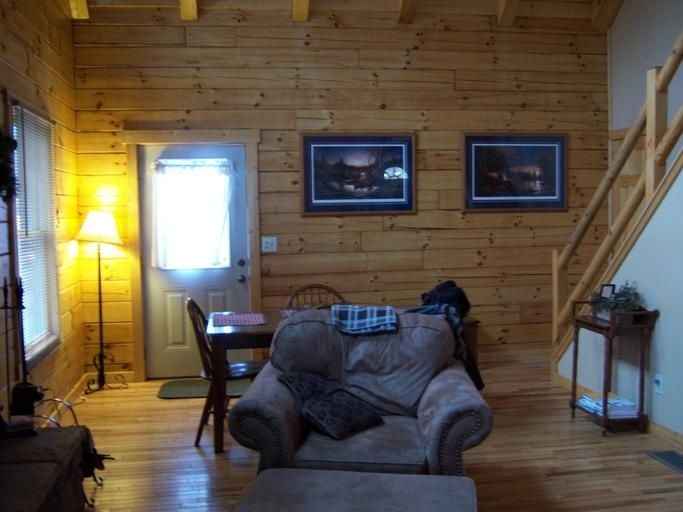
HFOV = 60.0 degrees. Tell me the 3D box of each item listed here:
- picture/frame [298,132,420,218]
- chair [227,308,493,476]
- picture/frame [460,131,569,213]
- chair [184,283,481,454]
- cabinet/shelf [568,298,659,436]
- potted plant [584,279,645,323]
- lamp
[{"bbox_3d":[0.101,-0.799,5.676,1.077,0.604,0.034,0,4,-5],"label":"picture/frame"},{"bbox_3d":[0.167,0.984,3.749,1.541,0.704,1.010,0,1,4],"label":"chair"},{"bbox_3d":[1.720,-0.837,5.901,0.038,0.748,1.156,-15,16,-40],"label":"picture/frame"},{"bbox_3d":[-0.117,0.769,3.975,1.496,0.641,0.434,-1,2,-15],"label":"chair"},{"bbox_3d":[2.041,0.798,4.543,0.528,0.965,0.654,-4,14,-8],"label":"cabinet/shelf"},{"bbox_3d":[2.070,0.334,4.480,0.367,0.143,0.301,-4,30,18],"label":"potted plant"},{"bbox_3d":[-2.206,0.393,5.407,0.486,1.633,0.504,-7,15,-19],"label":"lamp"}]
